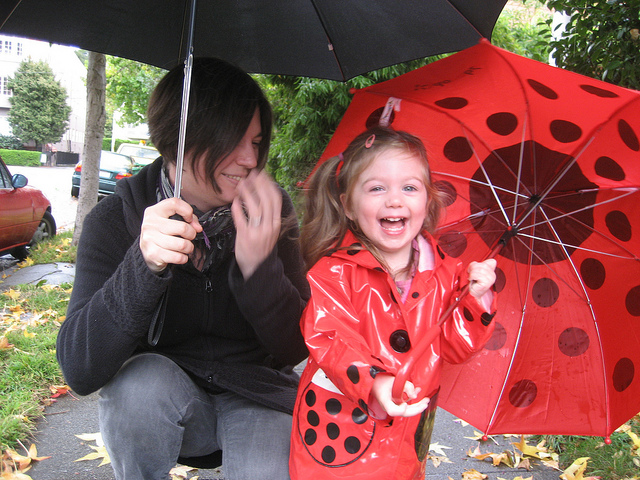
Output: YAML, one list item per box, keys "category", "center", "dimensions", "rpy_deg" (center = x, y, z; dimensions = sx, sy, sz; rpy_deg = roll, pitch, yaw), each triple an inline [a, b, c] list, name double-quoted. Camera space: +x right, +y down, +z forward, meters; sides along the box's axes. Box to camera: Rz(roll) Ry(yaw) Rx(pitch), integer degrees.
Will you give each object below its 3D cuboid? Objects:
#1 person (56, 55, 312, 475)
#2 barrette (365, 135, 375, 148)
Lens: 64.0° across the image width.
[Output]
- category: "person"
  center: [-0.579, 0.125, 2.418]
  dimensions: [1.159, 2.040, 0.739]
  rpy_deg: [7, 5, -13]
- category: "barrette"
  center: [0.242, -0.476, 2.475]
  dimensions: [0.043, 0.042, 0.036]
  rpy_deg: [8, 5, 4]
